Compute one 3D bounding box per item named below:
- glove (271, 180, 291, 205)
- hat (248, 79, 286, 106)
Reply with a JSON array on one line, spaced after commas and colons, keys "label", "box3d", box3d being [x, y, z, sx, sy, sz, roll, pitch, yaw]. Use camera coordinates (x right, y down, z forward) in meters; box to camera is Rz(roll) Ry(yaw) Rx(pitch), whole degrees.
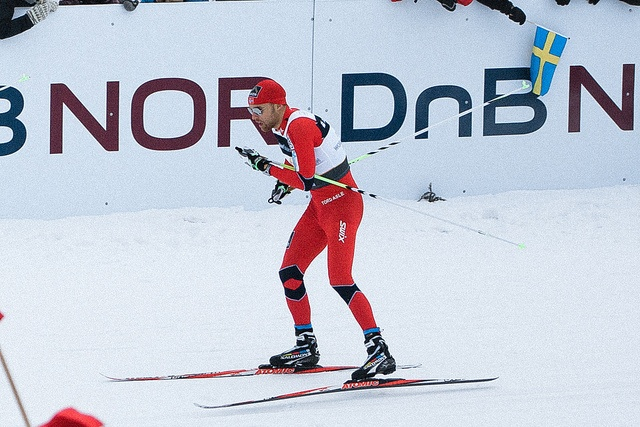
[{"label": "glove", "box3d": [-0.346, -0.166, 8.426, 0.179, 0.178, 0.064, -39, -13, 9]}, {"label": "hat", "box3d": [-0.417, -0.994, 8.361, 0.380, 0.253, 0.225, 1, -81, -42]}]
